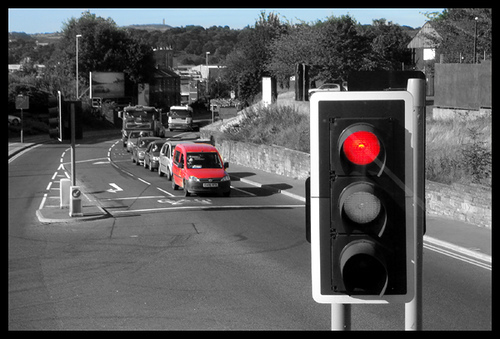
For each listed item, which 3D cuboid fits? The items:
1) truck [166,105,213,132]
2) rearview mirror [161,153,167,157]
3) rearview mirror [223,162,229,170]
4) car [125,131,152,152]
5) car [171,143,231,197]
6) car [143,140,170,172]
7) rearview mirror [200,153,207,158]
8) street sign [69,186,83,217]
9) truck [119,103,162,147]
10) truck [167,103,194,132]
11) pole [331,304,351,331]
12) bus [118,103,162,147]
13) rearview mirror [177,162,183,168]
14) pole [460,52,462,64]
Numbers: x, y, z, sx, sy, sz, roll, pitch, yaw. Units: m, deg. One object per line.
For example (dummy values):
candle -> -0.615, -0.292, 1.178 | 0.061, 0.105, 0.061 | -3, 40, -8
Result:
truck -> -11.830, -7.313, 74.198 | 3.322, 4.647, 10.433 | 0, -8, -5
rearview mirror -> -5.867, -0.952, 29.756 | 0.246, 0.278, 0.473 | -4, 5, -7
rearview mirror -> -1.354, -0.189, 24.665 | 0.264, 0.283, 0.488 | 3, -16, 4
car -> -10.846, -2.663, 42.518 | 2.471, 2.087, 5.694 | -1, 3, -12
car -> -3.108, 0.007, 26.130 | 2.962, 2.901, 5.444 | 0, 4, -22
car -> -7.455, -1.405, 35.079 | 1.701, 1.706, 3.823 | -4, 20, -25
rearview mirror -> -2.721, -0.778, 25.190 | 0.355, 0.284, 0.090 | 2, -3, -16
street sign -> -7.425, 1.368, 18.522 | 0.529, 1.283, 0.673 | -3, 7, -23
truck -> -13.705, -4.792, 54.941 | 4.940, 4.785, 8.706 | -1, -2, -12
truck -> -11.293, -7.983, 70.120 | 3.509, 4.047, 3.289 | -2, 7, -19
pole -> 0.801, 1.307, 3.849 | 0.161, 0.325, 0.208 | 1, 7, 13
bus -> -13.858, -5.371, 55.011 | 5.040, 4.780, 8.743 | -2, 5, -16
rearview mirror -> -4.043, -0.210, 25.032 | 0.364, 0.395, 0.207 | -1, -3, 16
pole -> 28.675, -15.185, 59.289 | 0.210, 1.246, 0.651 | 2, 7, 24
